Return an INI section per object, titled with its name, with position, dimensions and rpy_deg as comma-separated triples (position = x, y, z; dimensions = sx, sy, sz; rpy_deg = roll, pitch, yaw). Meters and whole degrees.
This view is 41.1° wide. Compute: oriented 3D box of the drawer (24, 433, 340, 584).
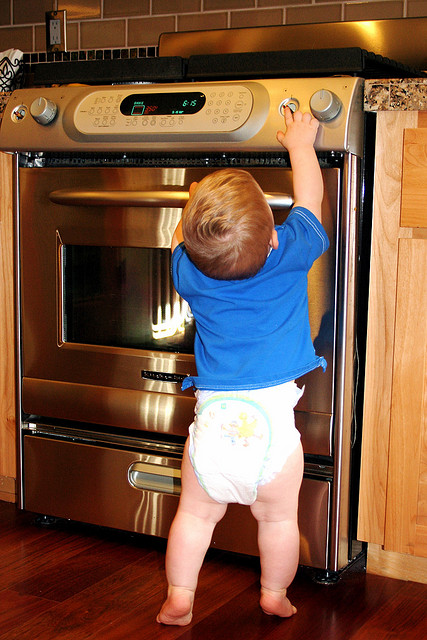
[drawer]
position = -0.071, 0.354, 1.279
dimensions = 0.723, 0.273, 0.232
rpy_deg = 2, -3, 22

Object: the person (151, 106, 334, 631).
[person]
position = 0.046, 0.149, 0.868
dimensions = 0.254, 0.717, 0.269
rpy_deg = 0, 1, -7

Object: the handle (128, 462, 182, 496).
[handle]
position = -0.120, 0.329, 1.186
dimensions = 0.106, 0.068, 0.024
rpy_deg = 8, 5, 17

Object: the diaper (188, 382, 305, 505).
[diaper]
position = 0.038, 0.177, 0.930
dimensions = 0.163, 0.187, 0.309
rpy_deg = 0, 7, 3
